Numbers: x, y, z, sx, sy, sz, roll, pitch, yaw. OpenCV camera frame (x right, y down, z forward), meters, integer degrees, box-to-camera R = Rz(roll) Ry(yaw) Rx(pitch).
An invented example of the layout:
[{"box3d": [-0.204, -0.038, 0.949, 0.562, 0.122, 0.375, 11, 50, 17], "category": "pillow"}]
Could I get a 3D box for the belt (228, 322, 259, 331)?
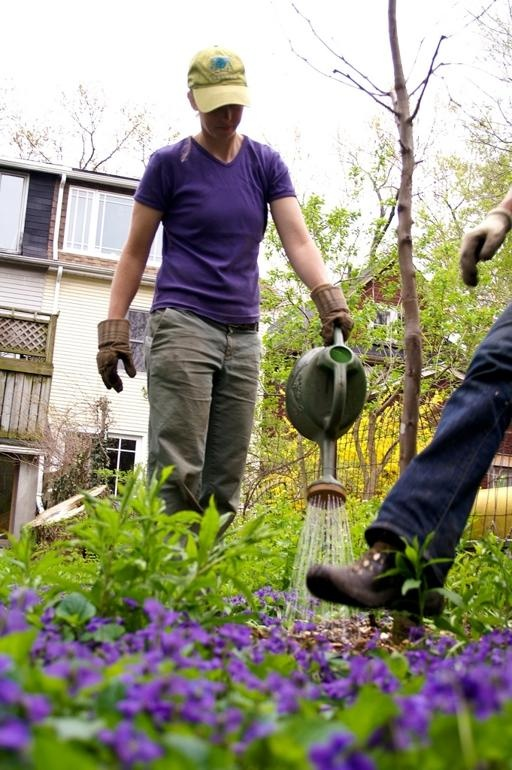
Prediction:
[{"box3d": [-0.054, -0.256, 2.506, 0.083, 0.027, 0.059, 0, 0, 4], "category": "belt"}]
